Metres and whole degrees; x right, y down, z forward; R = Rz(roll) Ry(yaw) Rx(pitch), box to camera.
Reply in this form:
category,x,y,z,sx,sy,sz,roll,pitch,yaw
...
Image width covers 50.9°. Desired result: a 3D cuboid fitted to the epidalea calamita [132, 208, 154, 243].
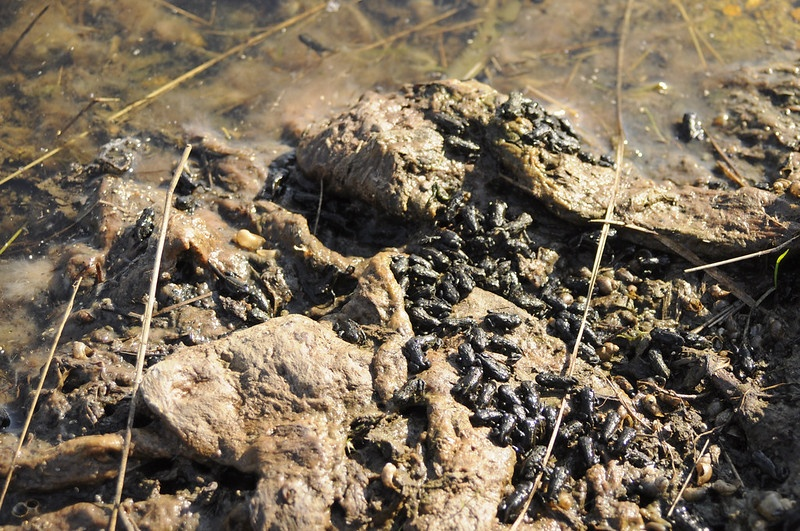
category,x,y,z,sx,sy,sz,roll,pitch,yaw
epidalea calamita,-5.094,-0.853,16.957,0.428,0.663,0.242,12,-21,19
